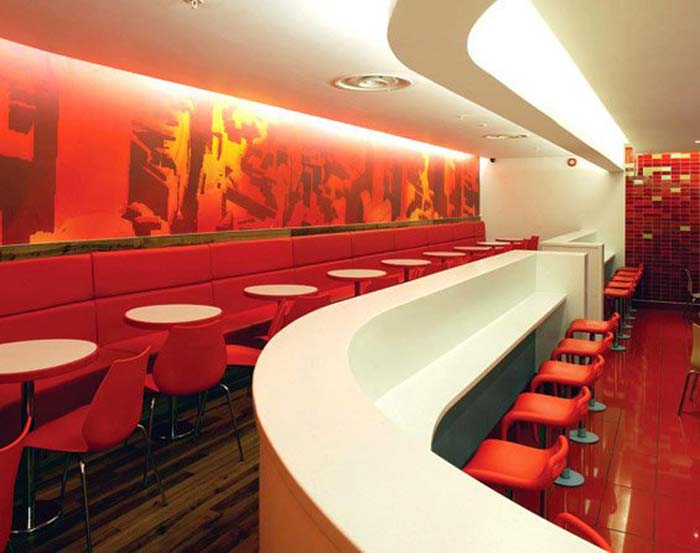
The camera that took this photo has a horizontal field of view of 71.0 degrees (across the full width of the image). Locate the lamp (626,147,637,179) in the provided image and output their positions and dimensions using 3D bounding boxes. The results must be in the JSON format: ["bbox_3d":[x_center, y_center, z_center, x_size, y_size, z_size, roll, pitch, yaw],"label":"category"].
[{"bbox_3d":[5.726,-2.333,10.021,0.263,0.613,0.101,6,11,21],"label":"lamp"}]
